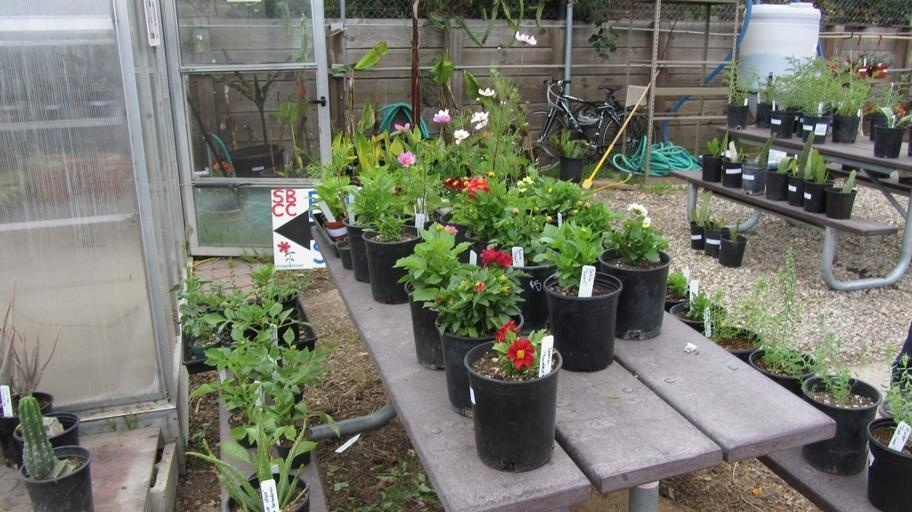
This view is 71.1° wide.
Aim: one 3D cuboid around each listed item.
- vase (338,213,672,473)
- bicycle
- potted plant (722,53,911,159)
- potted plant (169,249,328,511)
[{"bbox_3d":[0.248,0.321,3.133,0.929,0.695,1.092,-3,13,-11],"label":"vase"},{"bbox_3d":[1.688,-1.692,8.337,2.031,1.142,1.009,8,12,32],"label":"bicycle"},{"bbox_3d":[3.487,-1.478,6.325,1.437,0.981,1.960,-2,11,-13],"label":"potted plant"},{"bbox_3d":[-1.278,0.787,3.869,0.550,0.448,1.825,-5,50,-7],"label":"potted plant"}]
